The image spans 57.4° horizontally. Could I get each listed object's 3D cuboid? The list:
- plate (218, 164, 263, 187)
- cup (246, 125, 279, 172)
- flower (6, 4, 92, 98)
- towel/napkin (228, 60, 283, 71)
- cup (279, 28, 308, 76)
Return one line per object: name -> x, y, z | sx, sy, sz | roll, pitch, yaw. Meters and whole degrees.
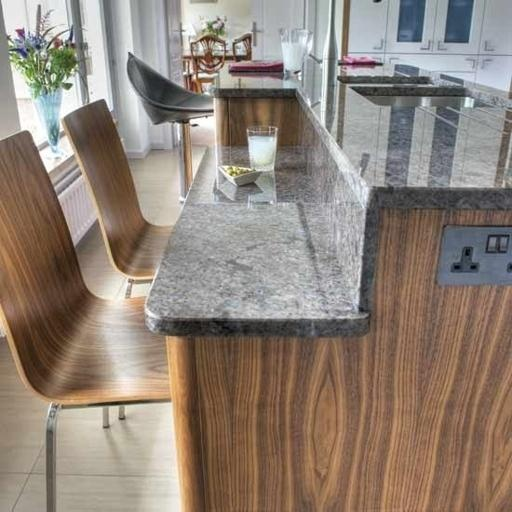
plate -> -0.051, -0.228, 1.268 | 0.090, 0.039, 0.168 | -11, 27, -22
cup -> 0.022, -0.306, 1.372 | 0.107, 0.150, 0.122 | -1, 27, -1
flower -> -1.180, -1.158, 2.571 | 0.333, 0.440, 0.915 | -10, 26, -21
towel/napkin -> -0.003, -0.906, 2.218 | 0.246, 0.038, 0.346 | -1, 25, -3
cup -> 0.157, -0.844, 1.931 | 0.114, 0.173, 0.259 | 1, 24, 3
